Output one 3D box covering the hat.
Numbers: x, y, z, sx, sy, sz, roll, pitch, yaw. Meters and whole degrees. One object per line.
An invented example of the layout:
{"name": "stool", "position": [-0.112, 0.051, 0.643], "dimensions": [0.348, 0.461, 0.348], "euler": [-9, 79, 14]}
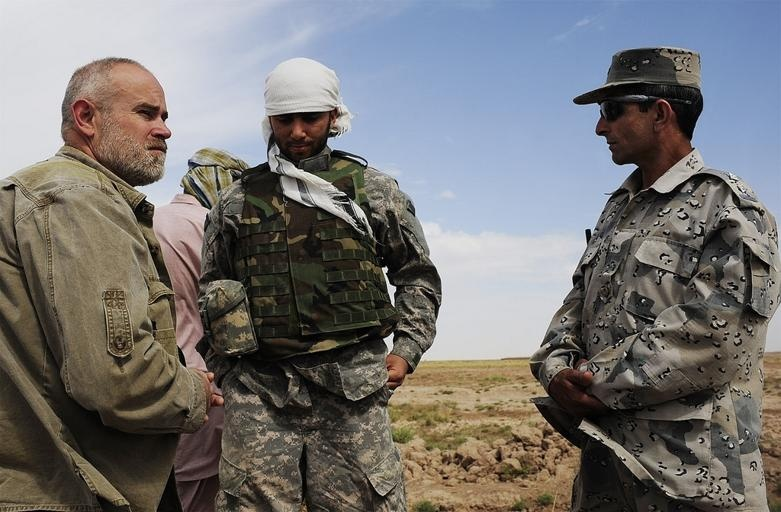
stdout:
{"name": "hat", "position": [1.943, -1.417, 6.332], "dimensions": [0.978, 0.336, 0.733], "euler": [-7, 8, -3]}
